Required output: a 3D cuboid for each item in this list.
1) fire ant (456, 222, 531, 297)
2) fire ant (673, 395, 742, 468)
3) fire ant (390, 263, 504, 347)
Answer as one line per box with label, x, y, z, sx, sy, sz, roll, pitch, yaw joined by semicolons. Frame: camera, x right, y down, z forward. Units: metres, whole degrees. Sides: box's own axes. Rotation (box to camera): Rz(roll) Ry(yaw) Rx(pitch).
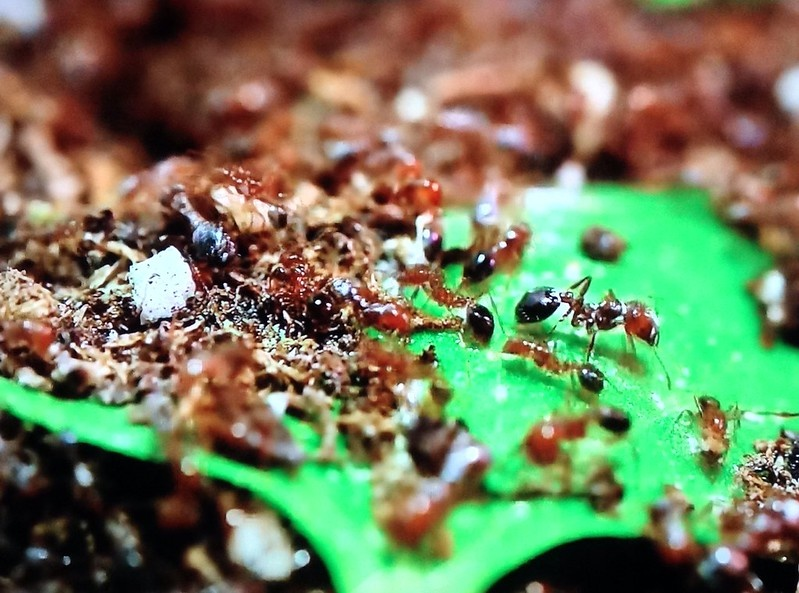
fire ant;0.283;-0.109;2.362;0.141;0.098;0.269;5;44;42
fire ant;0.890;0.382;2.159;0.211;0.086;0.224;-10;55;35
fire ant;0.143;0.006;2.212;0.336;0.068;0.113;37;80;13
